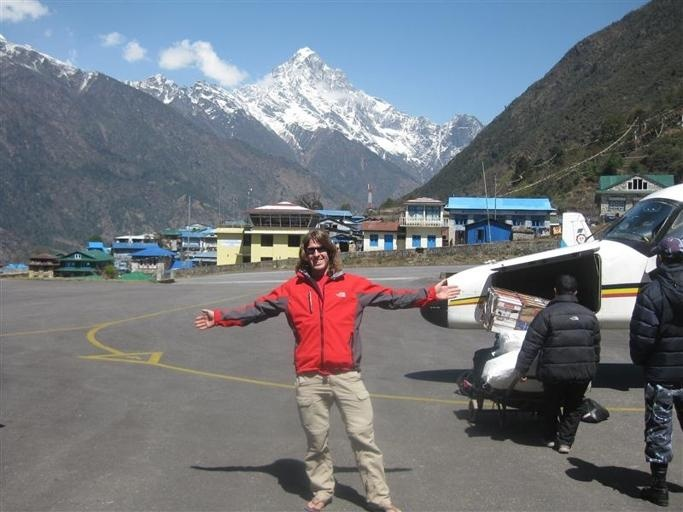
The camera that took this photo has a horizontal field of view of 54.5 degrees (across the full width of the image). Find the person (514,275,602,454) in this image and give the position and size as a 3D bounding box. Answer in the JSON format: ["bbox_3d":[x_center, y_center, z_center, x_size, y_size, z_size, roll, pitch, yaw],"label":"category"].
[{"bbox_3d":[2.704,1.398,8.481,0.941,2.264,0.456,2,4,17],"label":"person"}]

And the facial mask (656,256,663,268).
[{"bbox_3d":[3.646,0.066,7.789,0.048,0.151,0.060,-3,-8,-1],"label":"facial mask"}]

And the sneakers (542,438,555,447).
[{"bbox_3d":[2.649,2.449,8.716,0.079,0.069,0.188,-10,-20,5],"label":"sneakers"}]

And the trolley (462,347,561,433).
[{"bbox_3d":[2.171,1.852,9.449,0.885,0.726,1.162,1,3,-6],"label":"trolley"}]

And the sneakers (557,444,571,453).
[{"bbox_3d":[2.771,2.459,8.500,0.112,0.084,0.192,2,0,18],"label":"sneakers"}]
